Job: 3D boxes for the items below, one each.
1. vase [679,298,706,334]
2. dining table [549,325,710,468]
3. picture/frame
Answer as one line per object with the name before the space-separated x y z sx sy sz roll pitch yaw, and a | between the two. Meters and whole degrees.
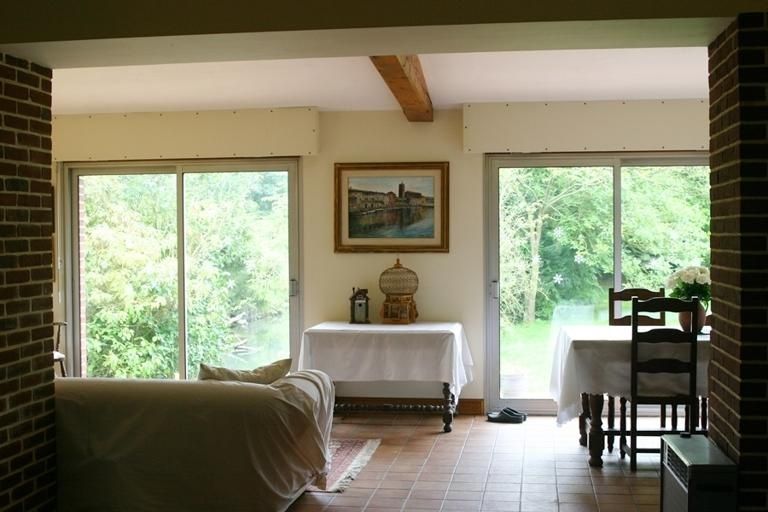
vase | 2.451 0.460 4.685 0.240 0.274 0.238 -8 8 31
dining table | 1.790 0.854 4.566 1.203 0.577 1.163 0 3 5
picture/frame | 0.112 -0.509 5.931 0.985 0.700 0.023 0 2 0
